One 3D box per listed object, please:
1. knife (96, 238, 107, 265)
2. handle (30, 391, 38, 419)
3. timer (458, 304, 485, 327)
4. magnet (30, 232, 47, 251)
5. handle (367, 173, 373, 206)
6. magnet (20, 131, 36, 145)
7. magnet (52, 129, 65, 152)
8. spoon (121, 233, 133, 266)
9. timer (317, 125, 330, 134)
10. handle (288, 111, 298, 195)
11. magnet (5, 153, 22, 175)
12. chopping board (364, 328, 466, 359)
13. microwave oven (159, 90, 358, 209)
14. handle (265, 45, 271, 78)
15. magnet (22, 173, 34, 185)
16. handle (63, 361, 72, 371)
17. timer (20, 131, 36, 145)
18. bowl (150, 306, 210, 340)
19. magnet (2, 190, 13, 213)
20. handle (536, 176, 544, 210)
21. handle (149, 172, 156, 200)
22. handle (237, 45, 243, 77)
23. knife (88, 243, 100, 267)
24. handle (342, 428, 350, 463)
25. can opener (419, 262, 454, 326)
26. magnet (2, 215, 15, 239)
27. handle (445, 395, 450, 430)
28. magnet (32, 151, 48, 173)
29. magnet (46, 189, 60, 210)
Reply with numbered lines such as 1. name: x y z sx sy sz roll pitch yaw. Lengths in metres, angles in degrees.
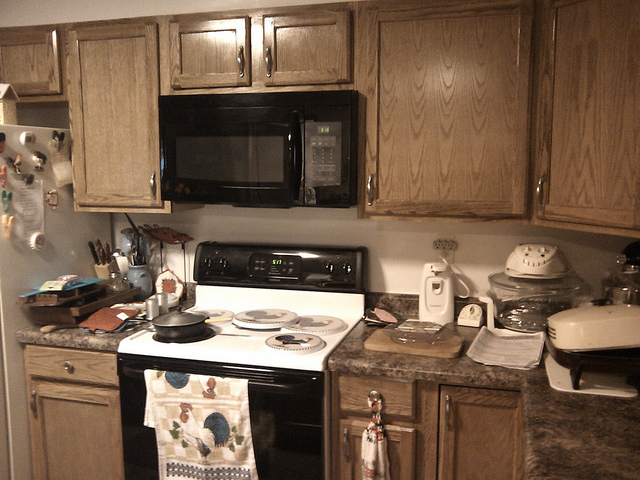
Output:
1. knife: -1.214 0.063 3.064 0.032 0.137 0.017 -13 16 -17
2. handle: -1.426 0.815 2.747 0.038 0.133 0.021 1 12 13
3. timer: 0.748 0.368 2.708 0.143 0.098 0.091 -2 12 3
4. magnet: -1.416 0.007 2.775 0.021 0.098 0.095 1 12 16
5. handle: 0.233 -0.236 2.560 0.028 0.145 0.013 -9 14 -30
6. magnet: -1.428 -0.499 2.701 0.015 0.056 0.062 4 9 32
7. magnet: -1.343 -0.512 2.828 0.041 0.104 0.037 6 3 26
8. spoon: -1.074 0.050 3.077 0.058 0.178 0.029 -9 -5 26
9. timer: 0.015 -0.507 2.526 0.053 0.035 0.016 -1 3 11
10. handle: -0.125 -0.400 2.545 0.058 0.374 0.034 -1 12 5
11. magnet: -1.465 -0.366 2.660 0.033 0.084 0.083 -29 24 49
12. chopping board: 0.421 0.462 2.517 0.440 0.043 0.325 3 5 17
13. microwave oven: -0.300 -0.446 2.773 0.961 0.551 0.493 2 12 11
14. handle: -0.243 -0.838 2.588 0.030 0.139 0.016 -3 12 -3
15. magnet: -1.434 -0.302 2.708 0.054 0.050 0.041 -23 -28 38
16. handle: -1.214 0.601 2.651 0.043 0.043 0.010 1 12 14
17. timer: -1.426 -0.500 2.703 0.016 0.060 0.066 1 3 33
18. bowl: -0.667 0.382 2.627 0.269 0.139 0.289 -4 5 0
19. magnet: -1.487 -0.188 2.627 0.019 0.107 0.059 3 13 22
20. handle: 0.950 -0.204 2.378 0.024 0.144 0.011 3 13 22
21. handle: -0.837 -0.272 2.768 0.024 0.135 0.017 -7 13 -20
22. handle: -0.376 -0.846 2.614 0.026 0.141 0.019 -3 12 -1
23. knife: -1.257 0.074 3.071 0.030 0.166 0.023 -11 22 4
24. handle: 0.108 0.867 2.337 0.029 0.139 0.027 -2 12 1
25. can opener: 0.581 0.261 2.766 0.198 0.300 0.179 3 9 20
26. magnet: -1.485 -0.066 2.632 0.061 0.116 0.027 -12 16 -39
27. handle: 0.521 0.701 2.255 0.017 0.142 0.016 1 12 14
28. magnet: -1.401 -0.392 2.762 0.024 0.108 0.081 6 14 33
29. magnet: -1.374 -0.216 2.831 0.079 0.104 0.077 -2 3 -41
